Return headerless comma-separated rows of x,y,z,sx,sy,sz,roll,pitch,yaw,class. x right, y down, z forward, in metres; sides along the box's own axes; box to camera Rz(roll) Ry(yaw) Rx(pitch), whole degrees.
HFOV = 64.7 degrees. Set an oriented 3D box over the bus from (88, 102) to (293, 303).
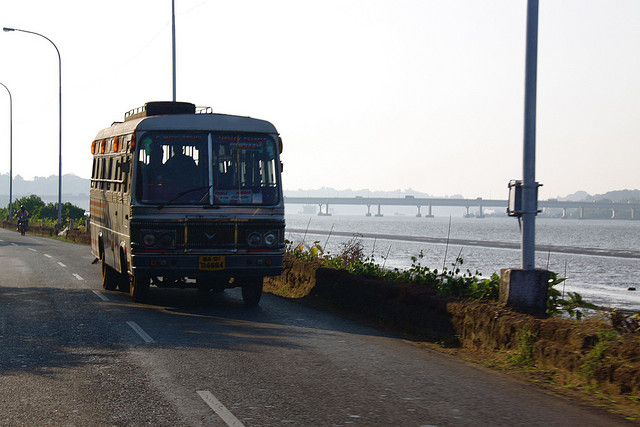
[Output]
-3.733,-0.487,13.106,5.152,4.036,3.068,1,-3,44,bus
